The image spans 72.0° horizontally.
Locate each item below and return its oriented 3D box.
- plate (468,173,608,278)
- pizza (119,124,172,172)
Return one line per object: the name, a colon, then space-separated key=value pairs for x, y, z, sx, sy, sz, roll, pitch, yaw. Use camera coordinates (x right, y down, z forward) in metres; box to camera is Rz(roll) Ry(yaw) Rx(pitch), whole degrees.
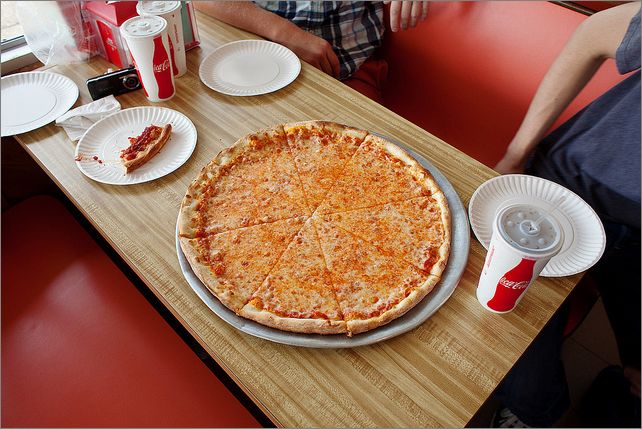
plate: x=0.798 y=0.027 z=1.639 sx=0.476 sy=0.081 sz=0.510 roll=16 pitch=47 yaw=14
pizza: x=-0.755 y=-0.295 z=1.922 sx=0.138 sy=0.045 sz=0.245 roll=35 pitch=69 yaw=11
